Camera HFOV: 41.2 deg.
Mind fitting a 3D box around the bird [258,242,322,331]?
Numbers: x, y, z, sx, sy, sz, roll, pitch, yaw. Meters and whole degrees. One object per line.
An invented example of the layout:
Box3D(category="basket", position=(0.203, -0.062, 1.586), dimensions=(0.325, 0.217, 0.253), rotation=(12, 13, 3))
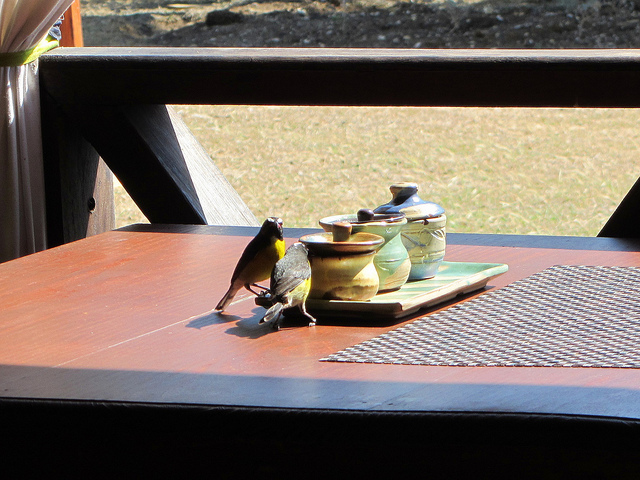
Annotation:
Box3D(category="bird", position=(-0.049, 0.066, 1.187), dimensions=(0.076, 0.158, 0.114), rotation=(-1, 93, 18))
